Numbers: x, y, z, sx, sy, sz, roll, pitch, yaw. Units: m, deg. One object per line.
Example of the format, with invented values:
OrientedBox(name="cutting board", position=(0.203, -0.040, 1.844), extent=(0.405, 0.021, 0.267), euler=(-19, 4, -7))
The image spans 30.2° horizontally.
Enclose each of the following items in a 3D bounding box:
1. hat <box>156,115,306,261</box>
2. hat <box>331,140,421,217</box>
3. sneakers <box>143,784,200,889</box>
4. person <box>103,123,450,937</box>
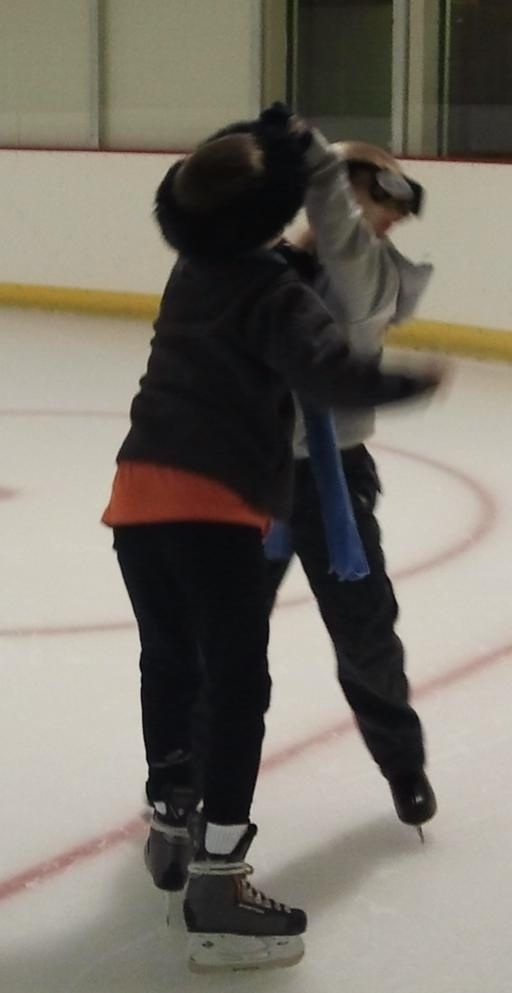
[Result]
OrientedBox(name="hat", position=(-0.002, -0.290, 0.860), extent=(0.142, 0.108, 0.070), euler=(-27, 71, -39))
OrientedBox(name="hat", position=(0.137, -0.336, 1.030), extent=(0.036, 0.091, 0.061), euler=(-48, 31, -7))
OrientedBox(name="sneakers", position=(-0.094, 0.386, 1.067), extent=(0.046, 0.131, 0.056), euler=(4, -21, -6))
OrientedBox(name="person", position=(-0.007, 0.059, 0.921), extent=(0.295, 0.824, 0.174), euler=(11, 14, 42))
